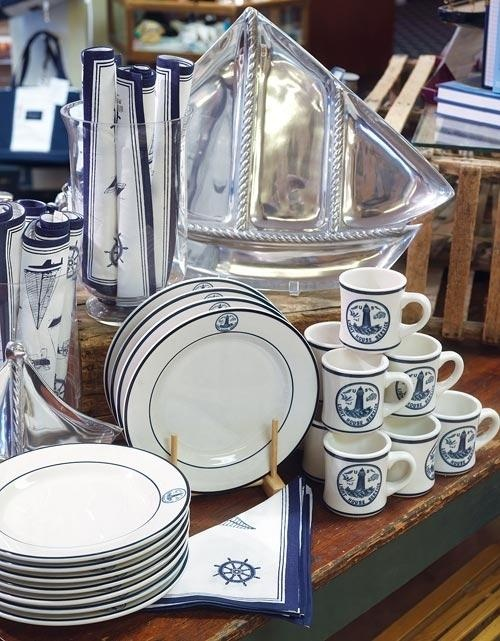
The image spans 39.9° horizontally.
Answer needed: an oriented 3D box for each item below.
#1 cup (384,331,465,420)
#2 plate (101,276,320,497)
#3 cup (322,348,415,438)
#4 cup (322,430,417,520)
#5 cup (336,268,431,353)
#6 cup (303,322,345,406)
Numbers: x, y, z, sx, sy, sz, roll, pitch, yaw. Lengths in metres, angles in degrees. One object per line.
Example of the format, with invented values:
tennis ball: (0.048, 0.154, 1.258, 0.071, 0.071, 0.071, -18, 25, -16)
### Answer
cup: (0.174, 0.058, 0.770, 0.102, 0.090, 0.068, -4, 31, -1)
plate: (-0.040, 0.068, 0.718, 0.206, 0.213, 0.112, -4, 14, -22)
cup: (0.118, 0.071, 0.706, 0.091, 0.077, 0.066, -4, 14, -22)
cup: (0.107, 0.155, 0.690, 0.068, 0.081, 0.067, 1, 13, 0)
cup: (0.135, -0.012, 0.732, 0.106, 0.079, 0.070, 4, 30, 11)
cup: (0.092, 0.051, 0.749, 0.046, 0.067, 0.078, 0, 26, 9)
